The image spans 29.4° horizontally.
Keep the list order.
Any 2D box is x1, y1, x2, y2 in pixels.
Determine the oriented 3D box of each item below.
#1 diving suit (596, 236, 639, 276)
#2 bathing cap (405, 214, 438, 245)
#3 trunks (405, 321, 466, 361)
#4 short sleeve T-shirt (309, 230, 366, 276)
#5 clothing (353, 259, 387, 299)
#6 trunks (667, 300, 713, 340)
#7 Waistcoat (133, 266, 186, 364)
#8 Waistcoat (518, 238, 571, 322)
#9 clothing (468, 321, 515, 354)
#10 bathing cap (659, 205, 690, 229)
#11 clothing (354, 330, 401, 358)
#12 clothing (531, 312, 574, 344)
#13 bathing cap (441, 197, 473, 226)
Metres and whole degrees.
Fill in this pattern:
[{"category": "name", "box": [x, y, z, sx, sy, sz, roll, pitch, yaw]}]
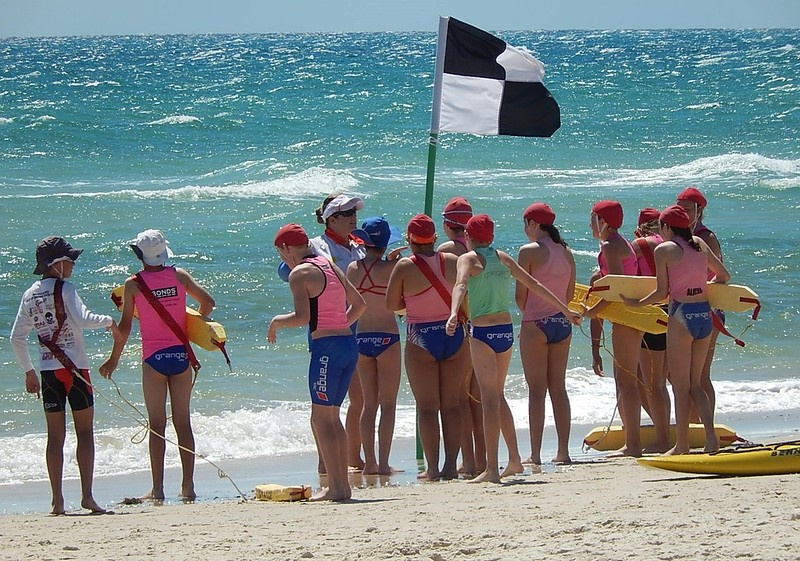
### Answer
[{"category": "diving suit", "box": [4.414, -0.413, 30.389, 0.889, 1.084, 0.625, -3, -5, 2]}, {"category": "bathing cap", "box": [0.414, -1.026, 29.380, 0.476, 0.596, 0.372, -4, -41, -11]}, {"category": "trunks", "box": [0.710, 1.208, 29.961, 1.290, 0.856, 0.872, -6, 5, -21]}, {"category": "short sleeve T-shirt", "box": [-1.055, -0.563, 30.208, 1.364, 1.241, 0.696, -2, 2, -37]}, {"category": "clothing", "box": [-0.522, -0.058, 29.888, 0.787, 0.973, 0.538, -2, -18, 6]}, {"category": "trunks", "box": [5.555, 0.686, 29.862, 1.005, 0.704, 0.691, -1, -1, -26]}, {"category": "Waistcoat", "box": [-4.636, 0.533, 29.902, 1.129, 1.695, 1.220, -2, 17, 11]}, {"category": "Waistcoat", "box": [2.612, 0.010, 30.075, 1.113, 1.451, 0.778, -4, 6, -20]}, {"category": "clothing", "box": [1.721, 1.151, 29.216, 0.755, 0.480, 0.590, -1, -3, -24]}, {"category": "bathing cap", "box": [5.288, -1.233, 29.633, 0.536, 0.336, 0.379, 1, 19, 6]}, {"category": "clothing", "box": [-0.462, 1.229, 29.749, 0.742, 0.446, 0.496, 2, -1, 8]}, {"category": "clothing", "box": [2.947, 0.978, 30.114, 0.835, 0.588, 0.568, -14, -3, -16]}, {"category": "bathing cap", "box": [1.110, -1.323, 29.709, 0.487, 0.507, 0.583, 1, 37, -11]}]
